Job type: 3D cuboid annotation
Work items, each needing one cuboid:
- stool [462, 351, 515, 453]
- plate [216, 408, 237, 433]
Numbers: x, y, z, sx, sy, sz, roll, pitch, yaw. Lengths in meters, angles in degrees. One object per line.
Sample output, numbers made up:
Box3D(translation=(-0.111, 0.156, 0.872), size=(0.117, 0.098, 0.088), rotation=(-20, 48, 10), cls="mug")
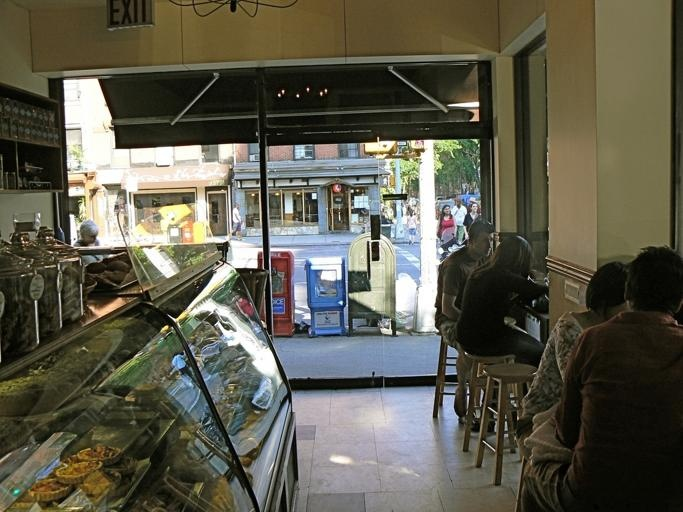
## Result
Box3D(translation=(1.059, 0.996, 4.279), size=(0.336, 0.491, 0.342), rotation=(9, 6, -31), cls="stool")
Box3D(translation=(-0.471, 0.683, 2.389), size=(0.028, 0.121, 0.060), rotation=(-22, -1, 21), cls="plate")
